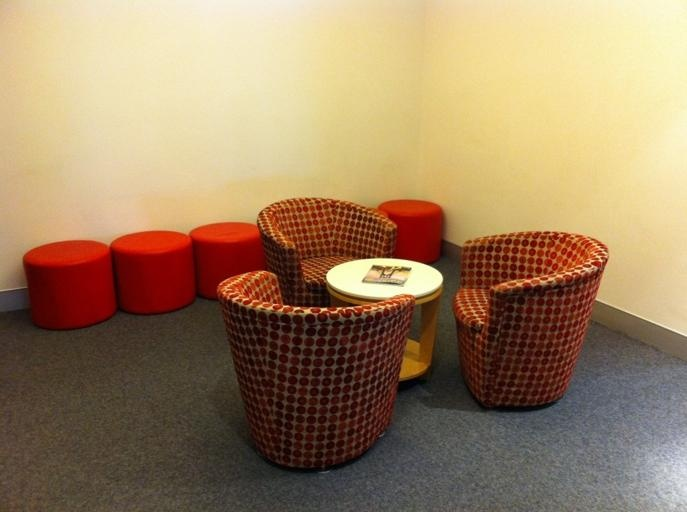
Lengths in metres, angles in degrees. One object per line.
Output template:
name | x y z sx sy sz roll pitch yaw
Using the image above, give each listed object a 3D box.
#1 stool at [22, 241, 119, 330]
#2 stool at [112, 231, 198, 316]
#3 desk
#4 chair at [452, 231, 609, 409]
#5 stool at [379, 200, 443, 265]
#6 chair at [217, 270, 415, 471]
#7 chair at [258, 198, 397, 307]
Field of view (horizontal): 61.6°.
stool | -2.297 0.216 4.894 0.634 0.602 0.635 -8 26 -19
stool | -1.693 0.090 5.182 0.684 0.652 0.713 17 28 25
desk | 0.269 0.316 4.170 0.807 0.735 0.822 -16 28 -27
chair | 1.272 0.423 4.035 0.885 1.034 1.011 -2 17 7
stool | 0.718 -0.330 6.145 0.605 0.571 0.634 7 24 13
chair | -0.037 0.706 3.587 0.876 0.921 0.920 -5 9 -25
chair | -0.174 0.184 4.715 1.029 0.946 0.899 -8 20 -26
